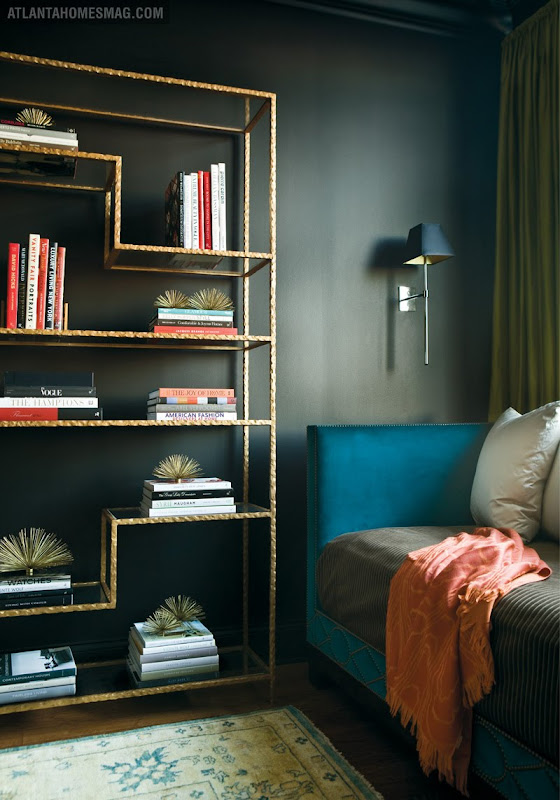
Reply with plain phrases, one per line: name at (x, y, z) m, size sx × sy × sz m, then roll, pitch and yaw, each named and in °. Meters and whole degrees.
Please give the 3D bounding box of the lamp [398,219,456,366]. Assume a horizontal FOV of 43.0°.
lamp at (0.538, -0.380, 2.640) m, size 0.207 × 0.492 × 0.363 m, roll -1°, pitch -3°, yaw 13°
